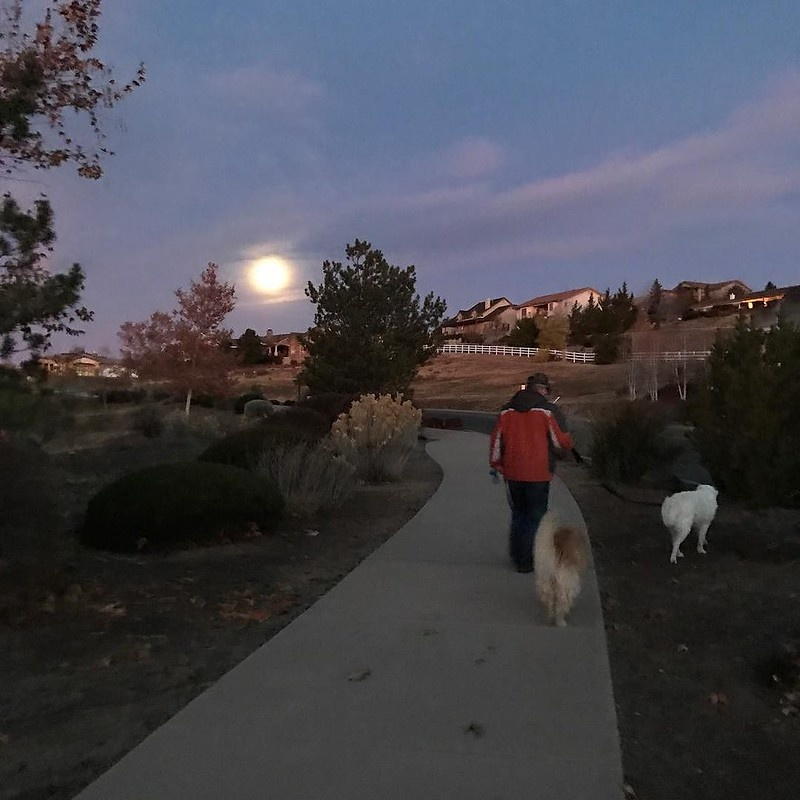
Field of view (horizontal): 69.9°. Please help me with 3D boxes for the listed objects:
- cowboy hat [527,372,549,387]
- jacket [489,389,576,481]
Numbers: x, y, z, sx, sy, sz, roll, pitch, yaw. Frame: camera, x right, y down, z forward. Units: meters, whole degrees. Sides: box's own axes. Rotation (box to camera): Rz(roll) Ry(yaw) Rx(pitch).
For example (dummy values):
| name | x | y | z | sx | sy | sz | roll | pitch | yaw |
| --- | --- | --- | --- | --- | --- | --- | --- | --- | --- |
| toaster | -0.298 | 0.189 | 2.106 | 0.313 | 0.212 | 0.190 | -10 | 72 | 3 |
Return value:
| name | x | y | z | sx | sy | sz | roll | pitch | yaw |
| --- | --- | --- | --- | --- | --- | --- | --- | --- | --- |
| cowboy hat | 1.444 | -0.184 | 5.928 | 0.147 | 0.112 | 0.203 | 1 | 1 | 41 |
| jacket | 1.342 | 0.340 | 5.850 | 0.822 | 1.047 | 0.555 | 5 | 17 | 18 |
